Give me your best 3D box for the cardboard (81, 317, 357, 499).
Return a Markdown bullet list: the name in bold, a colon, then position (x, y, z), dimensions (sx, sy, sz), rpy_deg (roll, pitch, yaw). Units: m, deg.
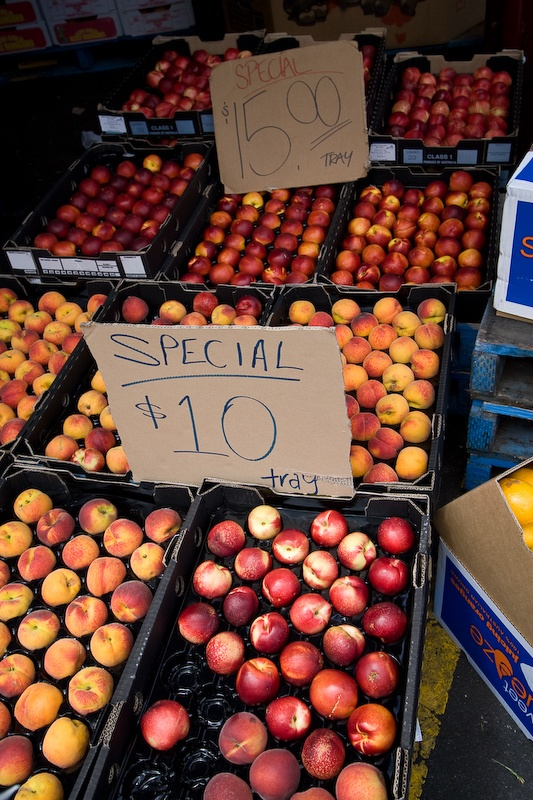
- **cardboard**: position (-0.139, 0.051, 1.549), dimensions (0.747, 0.622, 0.059), rpy_deg (2, 41, 15)
